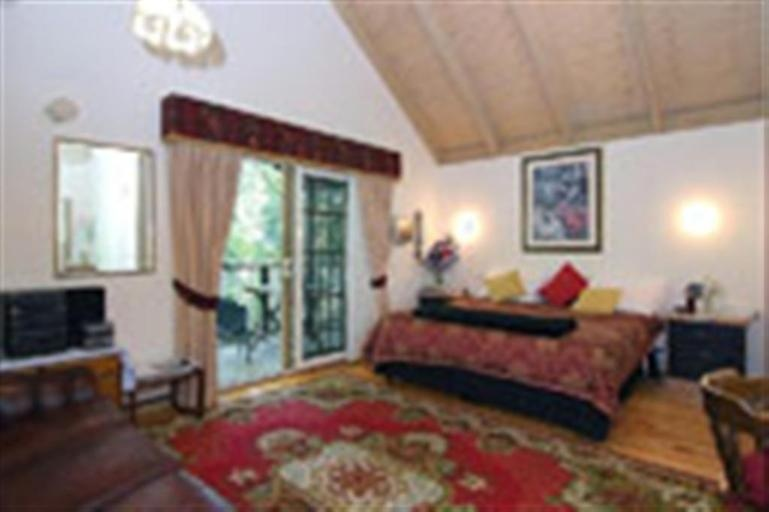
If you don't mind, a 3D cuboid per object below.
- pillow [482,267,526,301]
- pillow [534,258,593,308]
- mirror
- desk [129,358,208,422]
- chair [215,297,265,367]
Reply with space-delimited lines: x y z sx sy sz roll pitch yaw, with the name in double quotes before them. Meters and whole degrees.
"pillow" 1.654 0.408 7.268 0.476 0.449 0.138 -12 -29 3
"pillow" 2.331 0.392 6.854 0.439 0.479 0.594 20 12 33
"mirror" -2.789 -0.469 5.224 0.888 1.326 0.192 -1 2 -30
"desk" -2.176 1.264 5.170 0.527 0.465 0.785 -2 -3 38
"chair" -1.910 0.945 6.907 0.575 0.796 0.636 0 2 -12
